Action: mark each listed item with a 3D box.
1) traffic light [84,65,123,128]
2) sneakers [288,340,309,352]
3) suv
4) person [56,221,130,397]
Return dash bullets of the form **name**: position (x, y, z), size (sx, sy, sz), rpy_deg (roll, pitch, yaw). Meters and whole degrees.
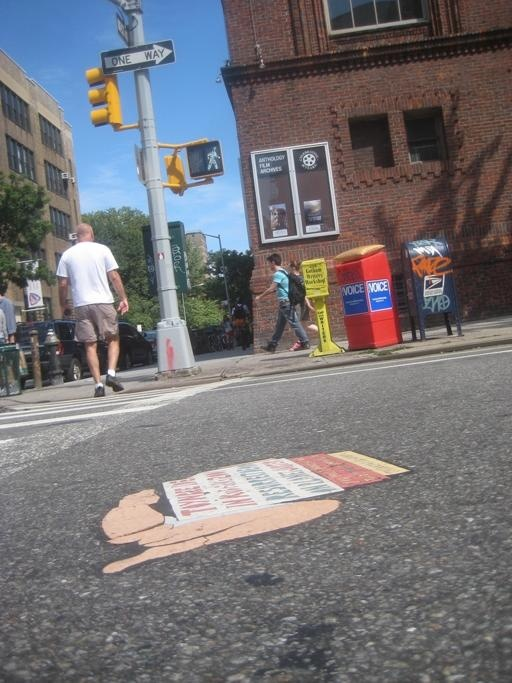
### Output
- **traffic light**: position (-2.424, -3.888, 10.464), size (0.479, 0.866, 0.405), rpy_deg (-9, 3, -10)
- **sneakers**: position (0.960, 0.094, 13.235), size (0.159, 0.197, 0.429), rpy_deg (-7, -7, 28)
- **suv**: position (-6.140, 0.331, 19.289), size (1.886, 1.767, 4.153), rpy_deg (-4, 0, -7)
- **person**: position (-2.206, -0.441, 8.976), size (0.894, 2.227, 0.878), rpy_deg (-9, 3, -13)
